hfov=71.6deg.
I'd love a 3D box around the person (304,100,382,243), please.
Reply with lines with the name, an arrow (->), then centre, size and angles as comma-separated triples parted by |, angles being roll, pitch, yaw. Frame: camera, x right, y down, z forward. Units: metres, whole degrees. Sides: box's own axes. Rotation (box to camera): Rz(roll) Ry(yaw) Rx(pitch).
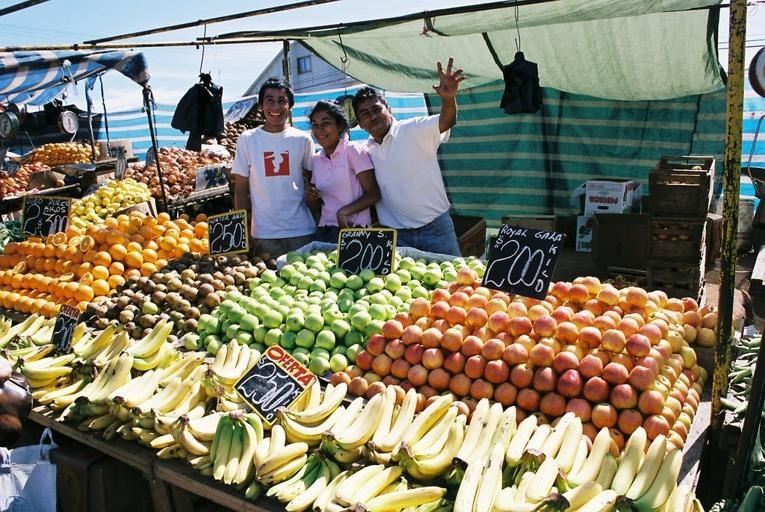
person -> -0.364, -0.760, 5.145 | 0.497, 1.573, 0.521 | 3, 6, 37

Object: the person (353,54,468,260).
person -> 0.252, -0.838, 4.962 | 0.994, 1.799, 0.727 | 0, 10, 8

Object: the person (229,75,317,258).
person -> -1.037, -0.781, 5.143 | 0.654, 1.963, 0.641 | -3, 6, -20
